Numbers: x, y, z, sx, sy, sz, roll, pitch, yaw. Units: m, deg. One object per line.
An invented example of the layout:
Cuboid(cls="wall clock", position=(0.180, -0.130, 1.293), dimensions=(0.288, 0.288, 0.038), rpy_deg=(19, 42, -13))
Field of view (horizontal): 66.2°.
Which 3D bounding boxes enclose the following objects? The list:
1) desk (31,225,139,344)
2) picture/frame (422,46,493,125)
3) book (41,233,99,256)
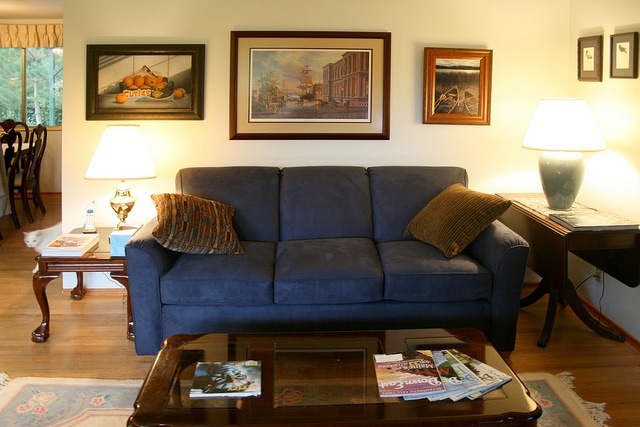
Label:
Cuboid(cls="desk", position=(-1.784, 0.451, 3.913), dimensions=(0.925, 0.604, 0.842), rpy_deg=(-1, 18, -11))
Cuboid(cls="picture/frame", position=(1.173, -1.141, 4.256), dimensions=(0.785, 0.671, 0.054), rpy_deg=(0, 4, -5))
Cuboid(cls="book", position=(-1.839, 0.237, 3.572), dimensions=(0.219, 0.044, 0.222), rpy_deg=(0, 12, 5))
